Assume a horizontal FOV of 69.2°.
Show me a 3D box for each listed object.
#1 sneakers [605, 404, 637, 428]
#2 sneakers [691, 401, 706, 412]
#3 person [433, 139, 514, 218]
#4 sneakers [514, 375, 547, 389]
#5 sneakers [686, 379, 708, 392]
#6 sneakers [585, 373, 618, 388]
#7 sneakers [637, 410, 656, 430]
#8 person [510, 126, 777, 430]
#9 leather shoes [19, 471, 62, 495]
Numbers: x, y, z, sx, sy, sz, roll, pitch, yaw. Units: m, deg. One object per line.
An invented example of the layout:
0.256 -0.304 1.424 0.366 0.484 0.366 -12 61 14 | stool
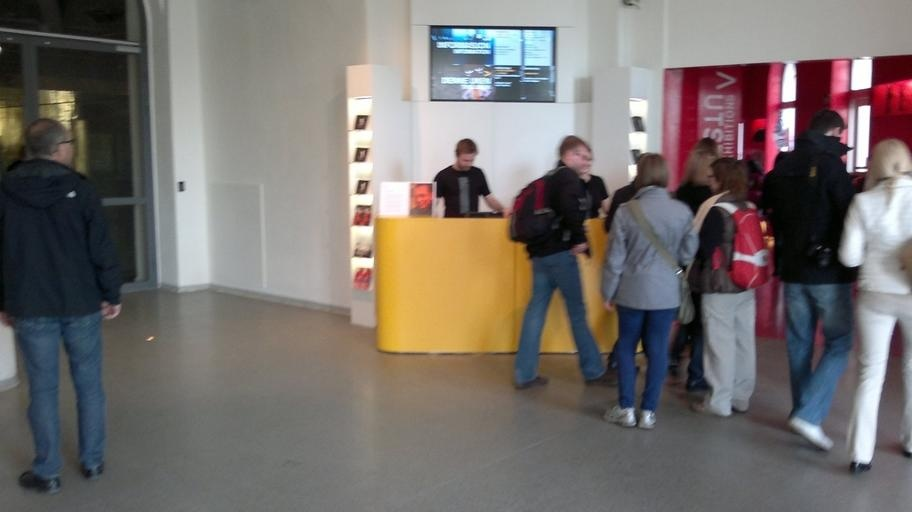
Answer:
1.484 1.441 6.056 0.154 0.132 0.304 -4 9 -40 | sneakers
2.284 1.404 6.206 0.084 0.049 0.133 2 7 1 | sneakers
0.115 -0.947 7.989 0.646 0.906 0.706 -5 12 -18 | person
0.788 1.279 6.762 0.374 0.134 0.120 -5 8 -23 | sneakers
2.397 1.287 6.616 0.237 0.087 0.094 -3 5 -9 | sneakers
1.515 1.252 6.759 0.372 0.136 0.116 -5 2 0 | sneakers
1.722 1.466 5.945 0.110 0.130 0.217 2 9 17 | sneakers
1.329 0.187 6.179 0.751 2.564 1.549 -12 15 -42 | person
-3.343 1.813 5.371 0.385 0.154 0.141 10 3 15 | leather shoes
